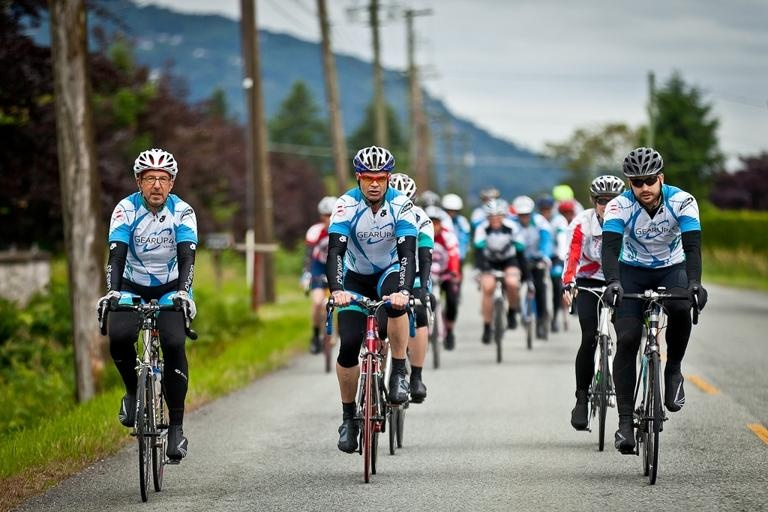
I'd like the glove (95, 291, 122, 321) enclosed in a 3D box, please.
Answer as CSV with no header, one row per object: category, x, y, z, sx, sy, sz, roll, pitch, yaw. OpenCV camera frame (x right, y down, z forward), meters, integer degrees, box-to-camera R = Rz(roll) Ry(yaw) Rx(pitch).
glove,-2.904,0.508,12.050,0.130,0.305,0.214,29,-15,-38

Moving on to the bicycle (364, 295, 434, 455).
bicycle,-0.007,1.388,12.874,0.457,1.903,1.373,0,5,10

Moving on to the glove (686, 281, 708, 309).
glove,3.350,0.408,12.185,0.166,0.292,0.121,2,-14,-11

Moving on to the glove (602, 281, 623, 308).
glove,2.499,0.407,12.446,0.209,0.265,0.145,0,5,10

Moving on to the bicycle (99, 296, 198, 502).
bicycle,-2.503,1.462,12.165,0.648,2.077,0.958,-3,5,-27

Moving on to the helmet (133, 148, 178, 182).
helmet,-2.518,-1.009,12.594,0.428,0.328,0.584,-1,5,-12

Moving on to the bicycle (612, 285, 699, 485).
bicycle,2.884,1.364,12.452,0.643,2.009,0.890,2,5,30

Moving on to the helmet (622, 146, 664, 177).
helmet,2.831,-1.011,12.495,0.407,0.318,0.280,0,5,11

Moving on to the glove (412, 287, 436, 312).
glove,0.455,0.476,12.811,0.252,0.238,0.624,0,5,1
